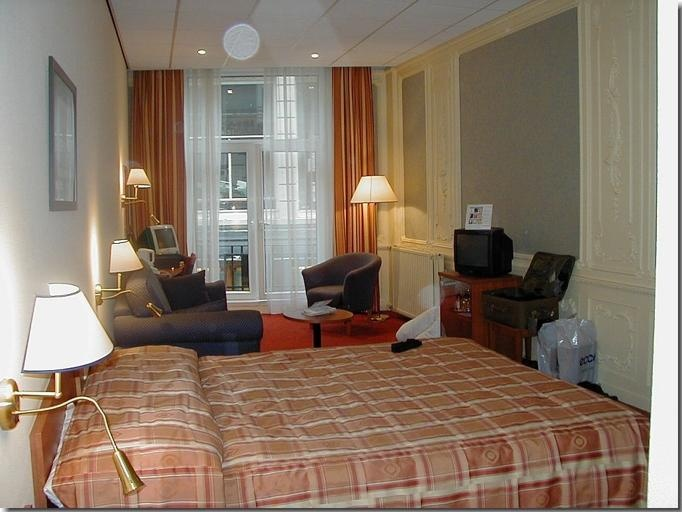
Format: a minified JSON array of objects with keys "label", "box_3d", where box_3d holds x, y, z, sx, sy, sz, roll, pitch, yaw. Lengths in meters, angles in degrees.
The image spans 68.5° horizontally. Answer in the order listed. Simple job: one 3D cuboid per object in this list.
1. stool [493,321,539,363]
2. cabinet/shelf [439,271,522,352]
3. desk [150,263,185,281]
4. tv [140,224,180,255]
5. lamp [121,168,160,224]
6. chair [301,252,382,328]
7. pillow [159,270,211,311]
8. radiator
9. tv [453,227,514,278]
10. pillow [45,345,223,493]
[{"label":"stool","box_3d":[1.533,0.786,4.506,0.396,0.372,0.390,0,2,-21]},{"label":"cabinet/shelf","box_3d":[1.253,0.424,5.139,0.634,1.010,1.072,0,3,-17]},{"label":"desk","box_3d":[-1.854,0.181,5.411,0.199,0.275,0.232,1,-7,45]},{"label":"tv","box_3d":[-2.136,-0.168,5.996,0.387,0.384,0.377,-12,-9,36]},{"label":"lamp","box_3d":[-2.365,-0.675,5.758,0.353,0.670,0.321,-3,1,-32]},{"label":"chair","box_3d":[0.059,0.369,6.323,0.942,0.801,0.844,2,1,44]},{"label":"pillow","box_3d":[-1.549,0.347,4.939,0.124,0.238,0.360,-8,1,43]},{"label":"radiator","box_3d":[0.954,0.321,6.201,0.198,0.734,0.995,0,3,-17]},{"label":"tv","box_3d":[1.321,-0.045,4.854,0.449,0.472,0.578,-4,4,-30]},{"label":"pillow","box_3d":[-0.811,0.693,2.065,0.371,0.144,0.668,2,20,-8]}]
